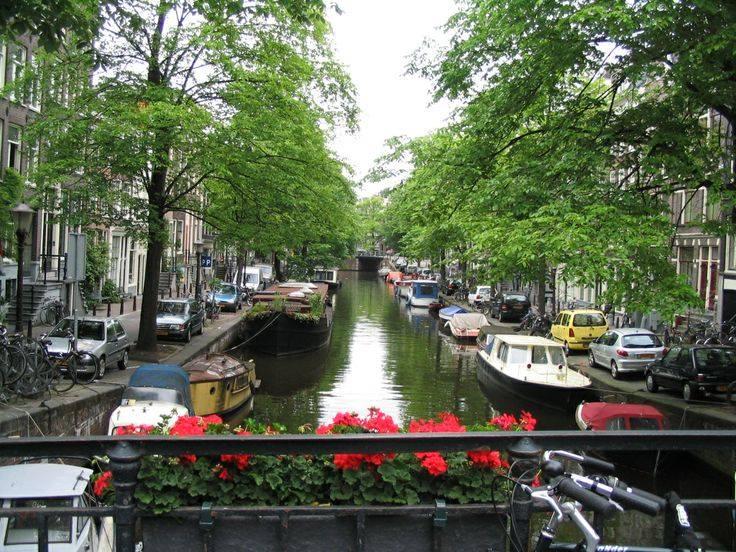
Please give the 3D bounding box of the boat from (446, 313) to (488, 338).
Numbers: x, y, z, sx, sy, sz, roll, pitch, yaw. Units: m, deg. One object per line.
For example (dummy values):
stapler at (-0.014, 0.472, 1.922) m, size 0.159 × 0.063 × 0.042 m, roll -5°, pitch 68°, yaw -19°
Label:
boat at (5.254, 2.618, 33.839) m, size 1.877 × 1.277 × 1.411 m, roll 0°, pitch 3°, yaw 16°

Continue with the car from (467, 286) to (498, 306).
car at (8.083, 1.463, 45.596) m, size 1.190 × 1.048 × 2.087 m, roll -1°, pitch 8°, yaw -2°

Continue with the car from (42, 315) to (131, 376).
car at (-7.185, 1.756, 16.562) m, size 1.493 × 1.045 × 2.595 m, roll 0°, pitch -3°, yaw -3°

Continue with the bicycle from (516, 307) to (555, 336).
bicycle at (8.013, 2.409, 30.270) m, size 1.611 × 0.991 × 1.017 m, roll 3°, pitch 9°, yaw -28°

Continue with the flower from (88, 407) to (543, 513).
flower at (-0.485, 1.544, 5.294) m, size 3.646 × 0.850 × 0.690 m, roll 1°, pitch -12°, yaw 2°

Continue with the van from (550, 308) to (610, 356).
van at (8.581, 2.072, 26.850) m, size 1.223 × 1.159 × 2.252 m, roll -1°, pitch 6°, yaw 0°

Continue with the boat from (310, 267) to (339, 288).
boat at (-4.235, 0.119, 61.278) m, size 2.219 × 1.599 × 4.187 m, roll 0°, pitch 0°, yaw 0°

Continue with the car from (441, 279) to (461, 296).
car at (7.709, 1.090, 60.240) m, size 1.204 × 0.926 × 2.690 m, roll 0°, pitch 7°, yaw 3°

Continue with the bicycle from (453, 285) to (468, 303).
bicycle at (7.733, 1.496, 53.548) m, size 0.915 × 0.926 × 1.474 m, roll 4°, pitch 6°, yaw 7°

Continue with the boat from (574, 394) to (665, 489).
boat at (5.940, 3.577, 14.366) m, size 1.546 × 1.388 × 4.202 m, roll -7°, pitch -7°, yaw 19°

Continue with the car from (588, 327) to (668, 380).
car at (8.354, 2.422, 21.151) m, size 1.269 × 1.016 × 2.197 m, roll -2°, pitch 7°, yaw -3°
